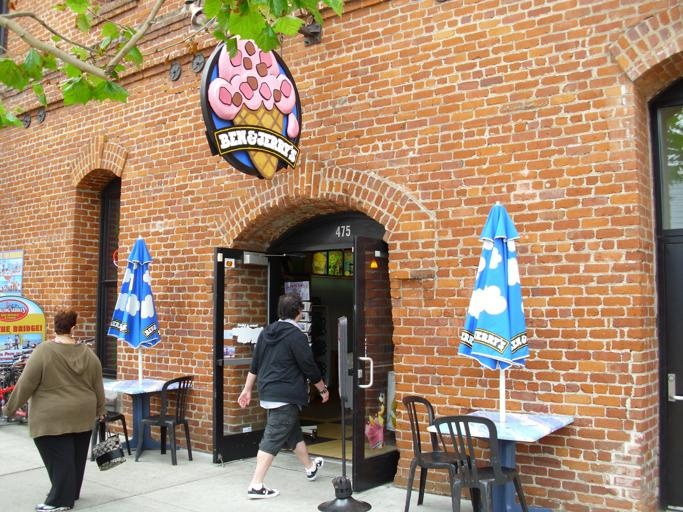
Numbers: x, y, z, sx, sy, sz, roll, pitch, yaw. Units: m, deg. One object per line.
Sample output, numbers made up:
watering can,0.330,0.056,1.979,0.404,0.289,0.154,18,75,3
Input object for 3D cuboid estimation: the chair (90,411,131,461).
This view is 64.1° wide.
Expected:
chair,-3.291,2.516,7.824,0.495,0.593,0.461,11,3,-1

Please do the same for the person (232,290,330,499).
person,-0.641,1.581,6.358,0.822,2.142,1.203,-8,-9,44

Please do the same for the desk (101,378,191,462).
desk,-2.688,2.249,7.764,1.469,1.229,0.945,0,-3,38

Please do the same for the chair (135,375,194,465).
chair,-2.423,2.209,7.673,0.723,1.220,0.732,-3,-8,22

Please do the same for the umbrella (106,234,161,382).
umbrella,-3.020,0.767,8.027,0.682,2.110,0.640,1,-3,-21
